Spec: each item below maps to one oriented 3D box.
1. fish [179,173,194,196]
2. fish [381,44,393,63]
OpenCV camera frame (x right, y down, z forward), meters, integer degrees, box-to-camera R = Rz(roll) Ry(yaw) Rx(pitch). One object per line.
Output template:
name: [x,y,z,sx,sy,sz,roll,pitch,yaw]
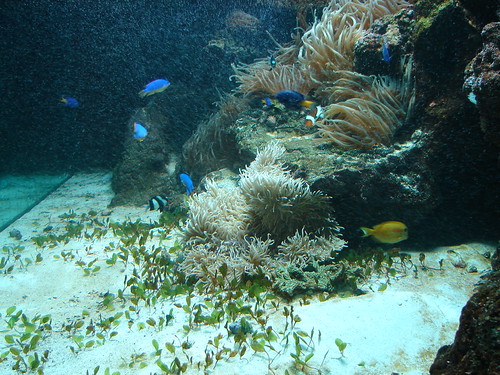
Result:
fish: [-1.033,-0.140,6.816,0.251,0.196,0.655,-1,28,-10]
fish: [1.946,-1.875,5.815,0.084,0.308,0.106,-4,-8,8]
